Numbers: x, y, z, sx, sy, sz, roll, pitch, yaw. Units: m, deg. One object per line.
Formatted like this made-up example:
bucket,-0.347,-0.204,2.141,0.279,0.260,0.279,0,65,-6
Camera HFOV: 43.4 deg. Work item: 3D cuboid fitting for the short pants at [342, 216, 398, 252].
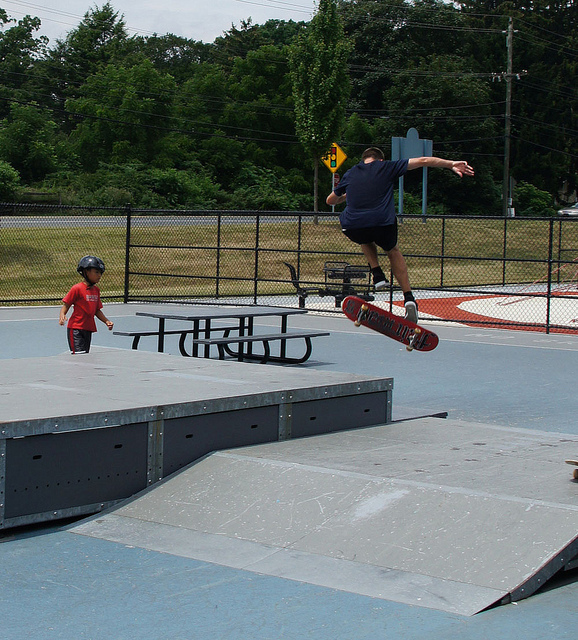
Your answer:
short pants,0.871,-0.873,7.553,0.537,0.349,0.397,0,4,10

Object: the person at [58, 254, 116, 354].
person,-2.148,-0.132,7.613,0.530,1.028,0.788,-6,11,-14

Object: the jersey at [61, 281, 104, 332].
jersey,-2.186,-0.138,7.654,0.262,0.516,0.517,4,-1,36

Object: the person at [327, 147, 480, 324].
person,0.975,-0.880,7.488,0.737,1.790,1.432,-8,12,-25
